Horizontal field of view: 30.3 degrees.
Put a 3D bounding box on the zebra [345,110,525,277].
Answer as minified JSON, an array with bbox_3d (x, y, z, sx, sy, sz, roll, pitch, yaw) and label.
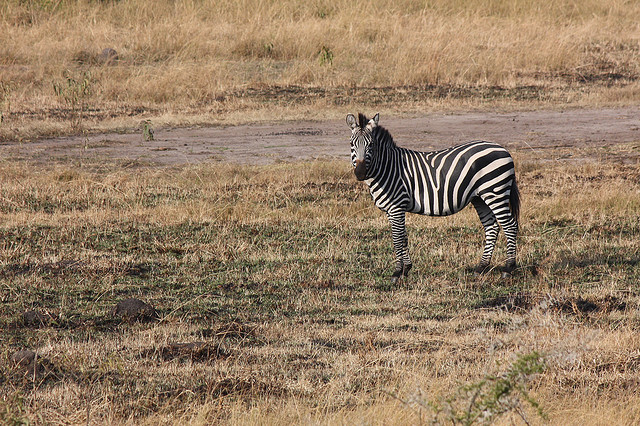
[{"bbox_3d":[2.818,-0.355,29.240,3.692,3.582,1.234,1,11,3],"label":"zebra"}]
